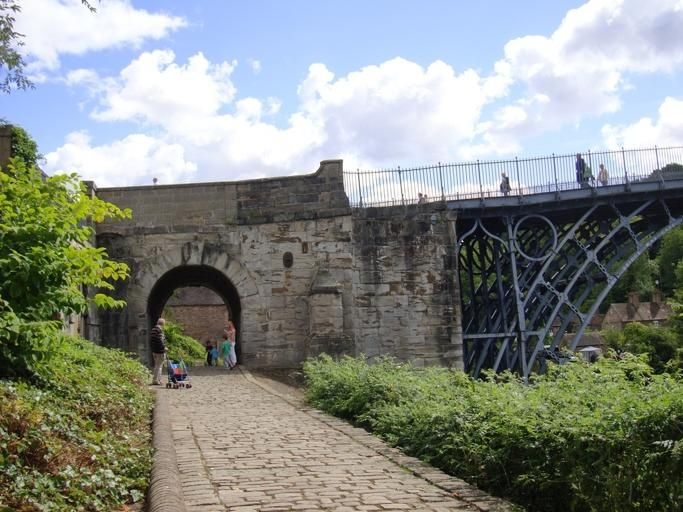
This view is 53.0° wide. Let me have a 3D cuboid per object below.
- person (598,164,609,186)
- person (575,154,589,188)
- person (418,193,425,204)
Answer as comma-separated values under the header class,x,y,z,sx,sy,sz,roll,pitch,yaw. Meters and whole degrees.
class,x,y,z,sx,sy,sz,roll,pitch,yaw
person,8.117,-2.530,21.177,0.265,0.762,0.655,-2,-7,21
person,7.469,-2.655,21.062,0.369,1.128,0.474,-2,-6,21
person,2.347,-1.740,19.851,0.217,0.356,0.817,-1,-7,7
